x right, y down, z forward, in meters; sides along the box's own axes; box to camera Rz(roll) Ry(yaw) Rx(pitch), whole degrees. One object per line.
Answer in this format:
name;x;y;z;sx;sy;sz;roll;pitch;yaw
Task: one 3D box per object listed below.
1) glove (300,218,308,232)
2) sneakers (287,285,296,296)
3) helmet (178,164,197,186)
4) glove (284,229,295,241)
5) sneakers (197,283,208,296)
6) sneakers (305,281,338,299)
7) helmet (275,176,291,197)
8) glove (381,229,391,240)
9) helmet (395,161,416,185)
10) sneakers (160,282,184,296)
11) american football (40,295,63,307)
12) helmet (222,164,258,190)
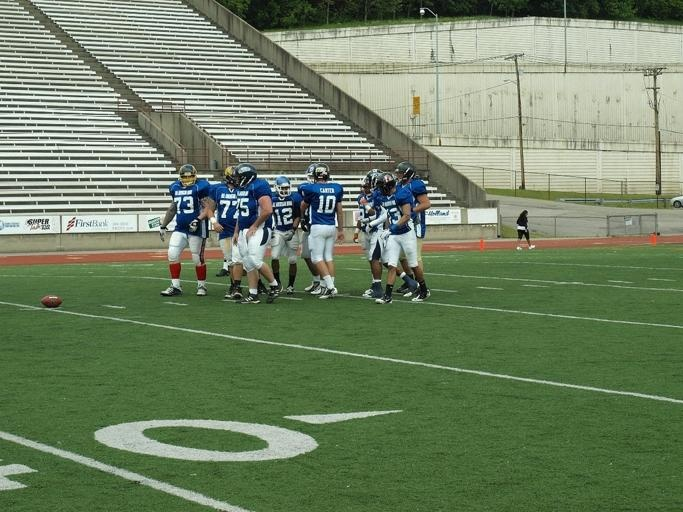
glove;-0.541;-0.459;15.142;0.068;0.166;0.132;-1;5;-29
sneakers;-0.792;0.551;15.609;0.151;0.153;0.388;-1;-1;2
helmet;-2.330;-1.211;14.961;0.323;0.302;0.395;-4;12;-15
glove;-0.794;-0.322;15.559;0.142;0.151;0.128;-46;-37;20
sneakers;-2.139;0.518;15.243;0.190;0.212;0.530;0;-3;-6
sneakers;-0.279;0.517;14.989;0.195;0.219;0.561;-16;16;-41
helmet;-0.893;-1.048;15.232;0.254;0.238;0.310;-1;9;-17
glove;0.648;-0.313;14.267;0.051;0.139;0.147;23;-19;-32
helmet;0.921;-1.223;14.674;0.339;0.282;0.258;10;22;18
sneakers;-2.554;0.545;15.144;0.389;0.163;0.133;1;0;-32
american football;-3.958;0.628;13.554;0.248;0.150;0.349;1;0;-18
helmet;-1.474;-1.117;14.186;0.467;0.332;0.344;6;13;20
